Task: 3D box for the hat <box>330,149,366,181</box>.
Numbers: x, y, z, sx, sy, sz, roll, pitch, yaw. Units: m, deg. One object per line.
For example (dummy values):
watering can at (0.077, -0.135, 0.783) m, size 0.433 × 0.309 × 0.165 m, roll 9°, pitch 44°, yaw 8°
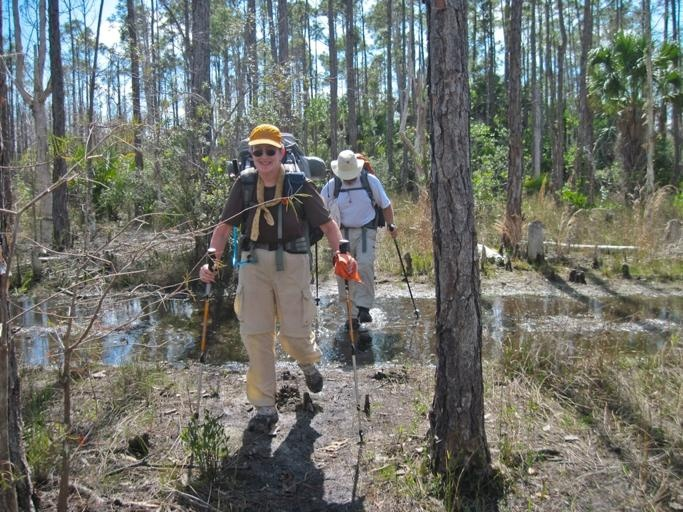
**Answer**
hat at (0.095, -1.539, 11.859) m, size 0.360 × 0.255 × 0.555 m, roll -4°, pitch 46°, yaw 4°
